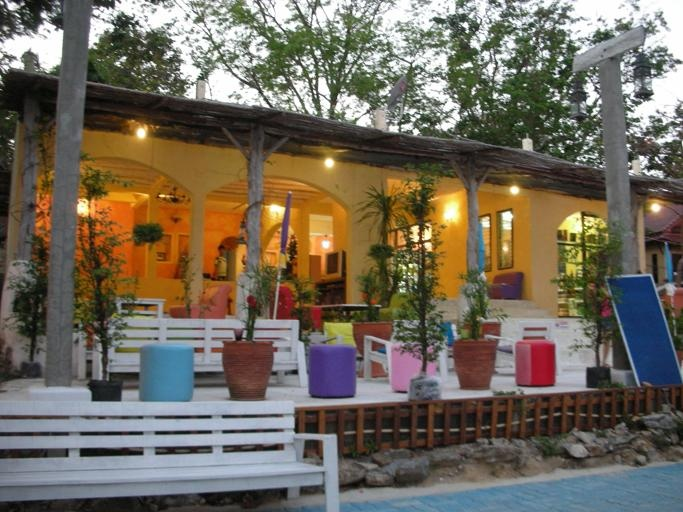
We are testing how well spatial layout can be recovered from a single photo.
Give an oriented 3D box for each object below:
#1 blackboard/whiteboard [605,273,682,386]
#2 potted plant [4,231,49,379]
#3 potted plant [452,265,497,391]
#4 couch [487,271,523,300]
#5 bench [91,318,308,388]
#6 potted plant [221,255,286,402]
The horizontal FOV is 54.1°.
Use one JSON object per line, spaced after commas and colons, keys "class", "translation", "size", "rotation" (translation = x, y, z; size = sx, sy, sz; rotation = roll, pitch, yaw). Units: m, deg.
{"class": "blackboard/whiteboard", "translation": [4.385, 1.054, 9.637], "size": [0.856, 1.545, 0.267], "rotation": [-3, -8, 28]}
{"class": "potted plant", "translation": [-4.549, 0.752, 9.696], "size": [0.509, 2.016, 1.298], "rotation": [4, -8, -26]}
{"class": "potted plant", "translation": [1.899, 1.027, 9.408], "size": [0.655, 1.614, 0.604], "rotation": [3, -16, -25]}
{"class": "couch", "translation": [4.423, 0.805, 17.823], "size": [0.428, 0.459, 0.741], "rotation": [5, -7, -23]}
{"class": "bench", "translation": [-1.513, 1.287, 8.886], "size": [2.274, 0.716, 0.632], "rotation": [-3, -27, 27]}
{"class": "potted plant", "translation": [-1.055, 0.875, 7.967], "size": [0.659, 1.557, 0.624], "rotation": [-6, -13, 25]}
